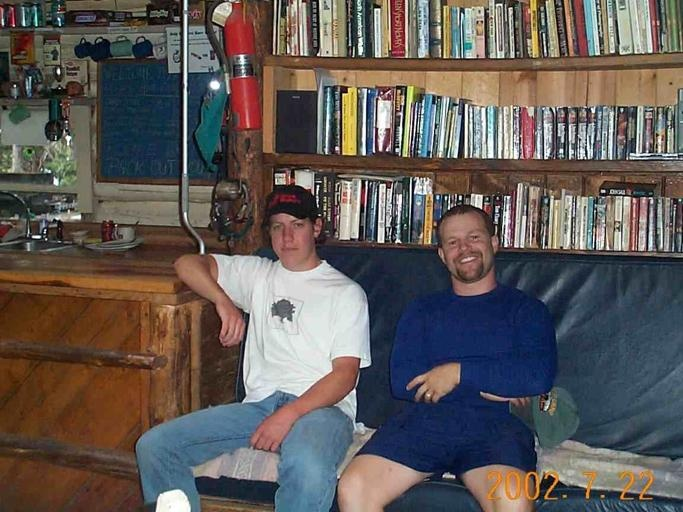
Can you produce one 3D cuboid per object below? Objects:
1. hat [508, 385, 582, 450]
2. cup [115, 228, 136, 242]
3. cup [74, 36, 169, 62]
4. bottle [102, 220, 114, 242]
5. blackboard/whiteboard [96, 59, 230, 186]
[{"bbox_3d":[0.860,0.677,2.941,0.269,0.264,0.083,-2,3,-19],"label":"hat"},{"bbox_3d":[-1.267,-0.121,4.241,0.102,0.073,0.074,-2,8,-30],"label":"cup"},{"bbox_3d":[-1.346,-1.267,4.420,0.584,0.154,0.094,4,9,13],"label":"cup"},{"bbox_3d":[-1.371,-0.142,4.255,0.074,0.115,0.148,-1,10,-18],"label":"bottle"},{"bbox_3d":[-1.010,-0.789,4.162,0.908,0.746,0.065,0,6,5],"label":"blackboard/whiteboard"}]
